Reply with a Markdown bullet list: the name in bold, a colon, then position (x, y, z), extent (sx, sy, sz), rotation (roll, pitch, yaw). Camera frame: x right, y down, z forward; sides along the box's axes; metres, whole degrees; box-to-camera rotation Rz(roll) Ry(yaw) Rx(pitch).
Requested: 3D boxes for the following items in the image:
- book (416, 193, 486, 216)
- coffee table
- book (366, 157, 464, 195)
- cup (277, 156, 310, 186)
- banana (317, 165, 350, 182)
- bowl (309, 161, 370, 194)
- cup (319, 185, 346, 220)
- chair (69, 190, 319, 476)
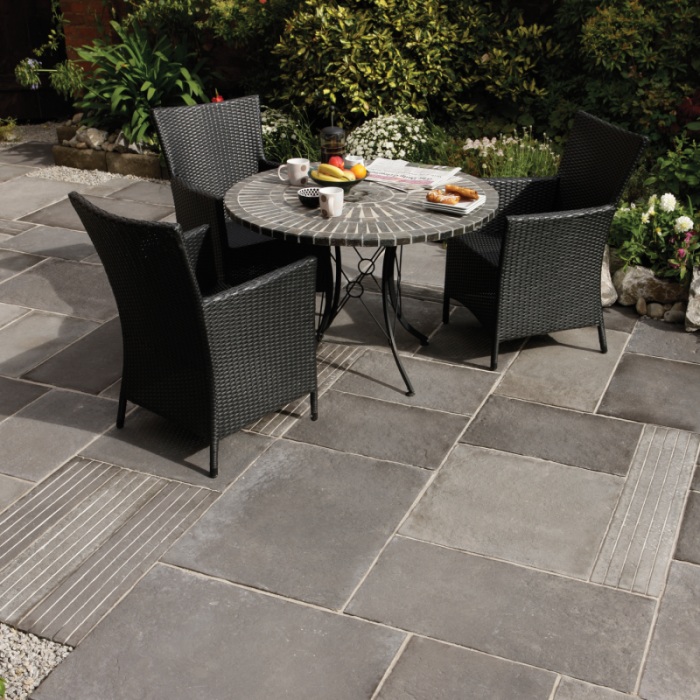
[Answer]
- **book**: position (0.488, -0.649, 2.904), extent (0.361, 0.039, 0.229), rotation (-8, 27, -12)
- **coffee table**: position (0.060, -0.342, 3.310), extent (1.375, 0.814, 1.353), rotation (21, 30, 35)
- **book**: position (0.315, -0.897, 3.329), extent (0.358, 0.074, 0.339), rotation (20, 29, 33)
- **cup**: position (-0.292, -0.899, 3.259), extent (0.209, 0.127, 0.125), rotation (7, 26, 24)
- **banana**: position (-0.075, -0.803, 2.939), extent (0.117, 0.067, 0.133), rotation (-13, 29, -19)
- **bowl**: position (-0.049, -0.790, 2.987), extent (0.310, 0.115, 0.282), rotation (3, 8, 0)
- **cup**: position (-0.082, -0.646, 2.818), extent (0.105, 0.107, 0.203), rotation (-4, 28, -2)
- **chair**: position (-0.560, -0.124, 2.541), extent (0.577, 1.048, 0.630), rotation (22, 39, 36)
